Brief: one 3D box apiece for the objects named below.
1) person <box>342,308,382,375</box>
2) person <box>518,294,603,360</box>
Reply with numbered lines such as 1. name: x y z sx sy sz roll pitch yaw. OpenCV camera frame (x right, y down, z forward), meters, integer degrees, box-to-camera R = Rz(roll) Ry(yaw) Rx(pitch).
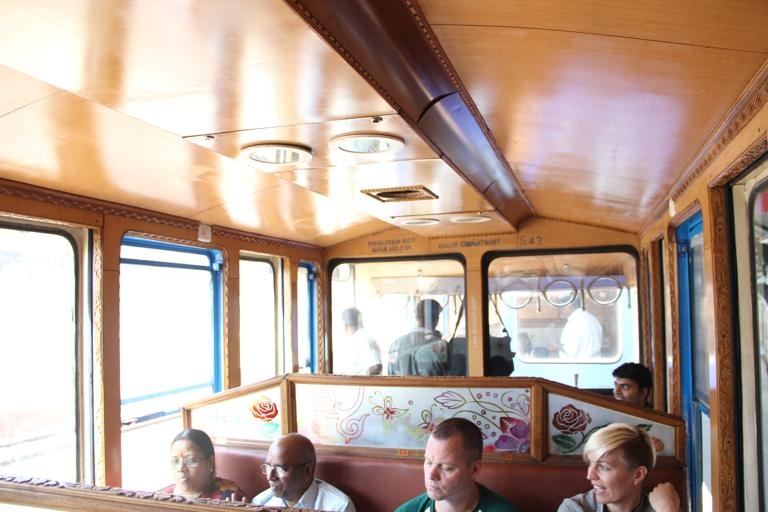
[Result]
1. person: -0.358 1.301 9.731 0.619 1.022 0.160 -4 -8 26
2. person: 2.245 0.992 8.674 0.867 1.182 0.720 0 3 -16
